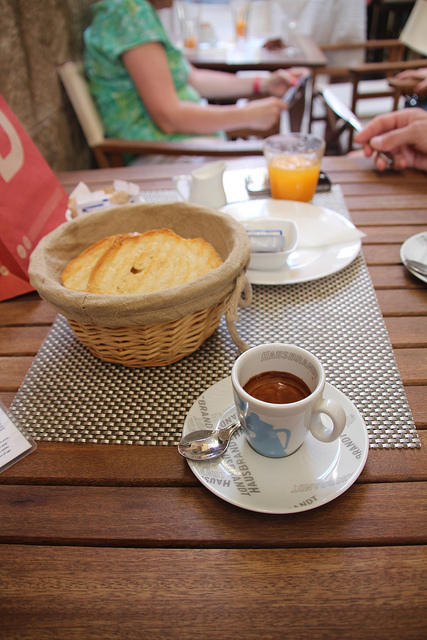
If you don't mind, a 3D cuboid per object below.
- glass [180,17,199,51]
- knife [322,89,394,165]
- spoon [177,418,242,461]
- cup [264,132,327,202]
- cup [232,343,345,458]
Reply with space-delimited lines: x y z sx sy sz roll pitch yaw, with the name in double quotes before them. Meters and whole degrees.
"glass" -0.103 -1.274 2.343 0.074 0.137 0.131 3 51 10
"knife" 0.318 -0.446 1.220 0.065 0.019 0.332 -5 42 -25
"spoon" 0.000 0.118 0.507 0.065 0.019 0.036 -18 50 -8
"cup" 0.156 -0.292 1.016 0.119 0.105 0.126 -2 35 1
"cup" 0.065 0.075 0.524 0.114 0.086 0.089 32 51 32
